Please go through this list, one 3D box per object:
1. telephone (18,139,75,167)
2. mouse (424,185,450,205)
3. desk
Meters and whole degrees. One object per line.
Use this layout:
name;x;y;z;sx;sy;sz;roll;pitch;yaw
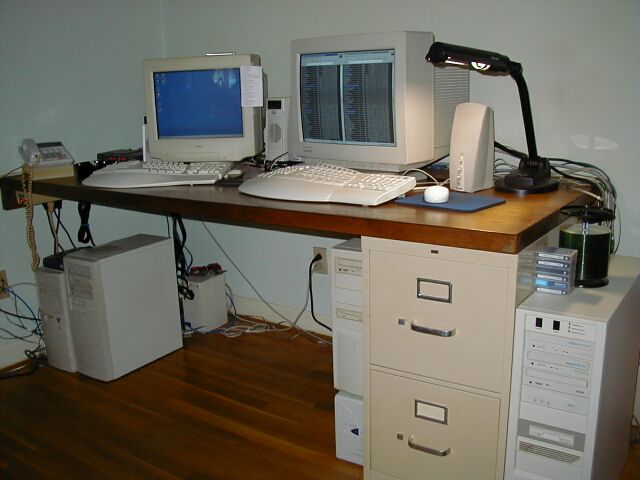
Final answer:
telephone;-1.273;-0.399;2.498;0.167;0.068;0.172;-8;37;-23
mouse;0.366;-0.151;1.710;0.058;0.038;0.060;1;21;7
desk;-0.063;0.128;2.207;2.017;0.752;0.792;8;19;29
